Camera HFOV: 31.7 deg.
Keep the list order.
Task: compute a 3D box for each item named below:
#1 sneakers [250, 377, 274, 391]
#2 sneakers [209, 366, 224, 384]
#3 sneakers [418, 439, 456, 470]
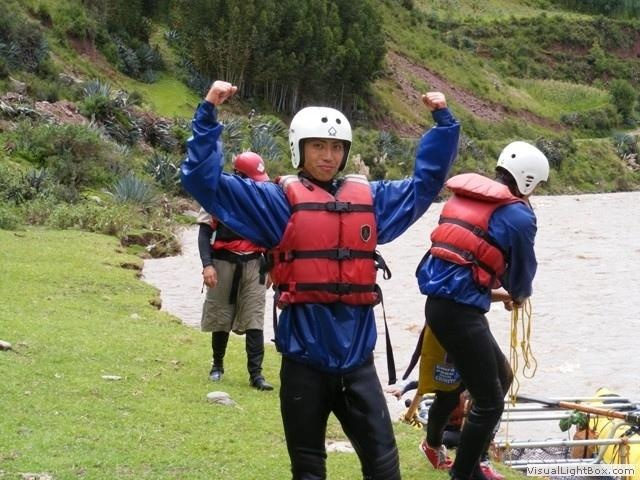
[{"bbox_3d":[-1.006,2.537,19.764,0.175,0.204,0.503,6,-16,-31],"label":"sneakers"},{"bbox_3d":[-1.811,2.368,19.836,0.136,0.234,0.364,7,-16,-7],"label":"sneakers"},{"bbox_3d":[1.946,3.510,18.335,0.684,0.289,0.254,43,19,0],"label":"sneakers"}]
